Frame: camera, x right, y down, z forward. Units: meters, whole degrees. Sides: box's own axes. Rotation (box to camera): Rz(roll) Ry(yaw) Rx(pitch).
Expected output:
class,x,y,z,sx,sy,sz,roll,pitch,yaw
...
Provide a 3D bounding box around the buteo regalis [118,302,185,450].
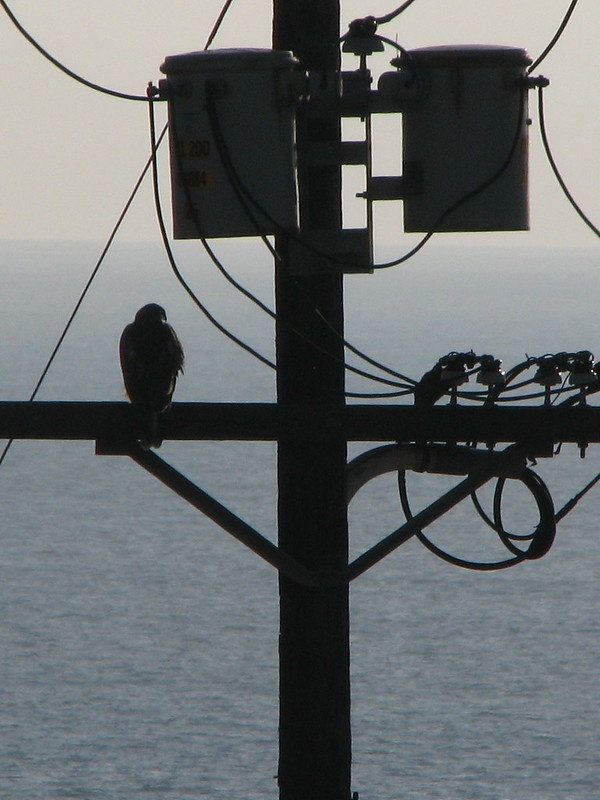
class,x,y,z,sx,sy,sz,roll,pitch,yaw
buteo regalis,-1.512,-0.249,28.029,0.653,1.411,0.662,1,6,-3

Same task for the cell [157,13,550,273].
class,x,y,z,sx,sy,sz,roll,pitch,yaw
cell,0.449,-2.462,28.226,3.663,2.649,1.256,-1,15,1
